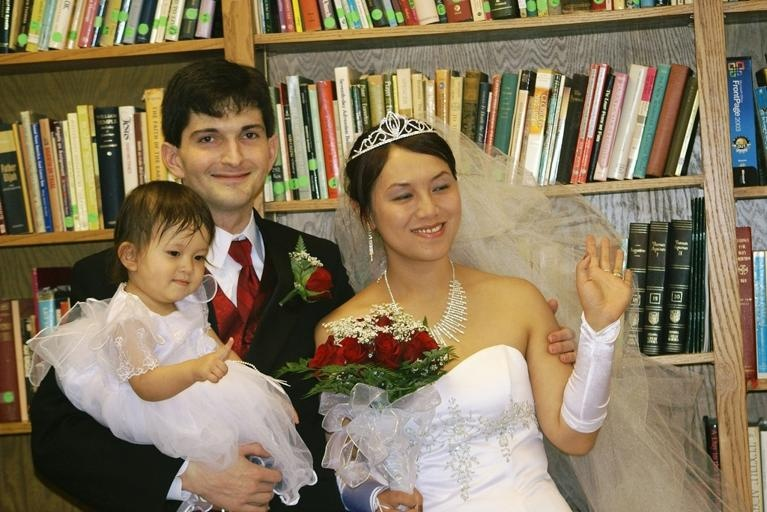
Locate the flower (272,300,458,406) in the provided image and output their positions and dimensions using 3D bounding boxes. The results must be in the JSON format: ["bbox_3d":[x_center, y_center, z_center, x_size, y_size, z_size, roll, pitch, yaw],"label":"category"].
[{"bbox_3d":[-0.025,0.329,2.078,0.389,0.251,0.403,-14,23,28],"label":"flower"}]

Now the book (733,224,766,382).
[{"bbox_3d":[1.703,0.214,2.894,0.081,0.684,0.156,0,7,20],"label":"book"}]

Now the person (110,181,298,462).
[{"bbox_3d":[-0.703,0.219,2.168,0.443,0.957,0.479,-6,8,-25],"label":"person"}]

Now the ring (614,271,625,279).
[{"bbox_3d":[0.811,0.064,2.135,0.026,0.014,0.036,2,31,2],"label":"ring"}]

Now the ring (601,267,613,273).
[{"bbox_3d":[0.773,0.051,2.117,0.024,0.016,0.047,5,10,44],"label":"ring"}]
